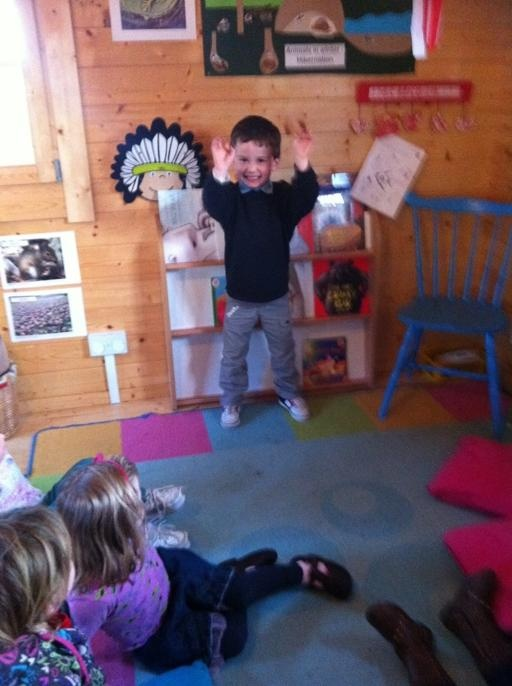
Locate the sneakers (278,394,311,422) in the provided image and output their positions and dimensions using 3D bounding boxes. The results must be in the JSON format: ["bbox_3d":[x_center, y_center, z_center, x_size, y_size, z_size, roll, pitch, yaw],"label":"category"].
[{"bbox_3d":[0.165,0.280,2.351,0.055,0.062,0.159,-24,41,-21],"label":"sneakers"}]

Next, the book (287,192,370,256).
[{"bbox_3d":[0.330,-0.521,2.422,0.343,0.304,0.081,-3,10,-16],"label":"book"}]

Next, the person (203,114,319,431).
[{"bbox_3d":[0.030,-0.242,2.130,0.432,1.209,0.284,-5,25,-3],"label":"person"}]

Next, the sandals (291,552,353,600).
[{"bbox_3d":[0.172,0.602,1.417,0.142,0.080,0.061,14,16,20],"label":"sandals"}]

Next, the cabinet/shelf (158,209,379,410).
[{"bbox_3d":[0.023,-0.164,2.334,0.862,0.769,0.248,-5,18,-10],"label":"cabinet/shelf"}]

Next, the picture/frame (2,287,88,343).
[{"bbox_3d":[-0.937,-0.130,2.335,0.252,0.172,0.005,-5,17,-12],"label":"picture/frame"}]

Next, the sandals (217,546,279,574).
[{"bbox_3d":[-0.019,0.529,1.340,0.155,0.052,0.054,0,47,-22],"label":"sandals"}]
